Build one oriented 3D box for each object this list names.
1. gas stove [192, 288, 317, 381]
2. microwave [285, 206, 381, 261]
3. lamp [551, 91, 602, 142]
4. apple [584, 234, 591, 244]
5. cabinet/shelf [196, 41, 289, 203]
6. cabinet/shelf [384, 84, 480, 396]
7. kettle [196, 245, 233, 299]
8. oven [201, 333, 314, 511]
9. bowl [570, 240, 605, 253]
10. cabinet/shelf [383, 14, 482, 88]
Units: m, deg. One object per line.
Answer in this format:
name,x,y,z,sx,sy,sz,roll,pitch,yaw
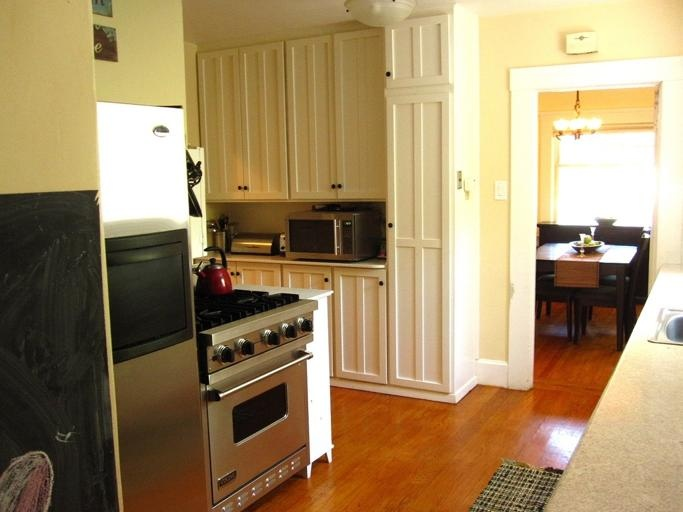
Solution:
gas stove,-0.558,0.376,2.696,0.548,0.268,0.782,4,8,30
microwave,-0.094,-0.172,4.223,0.607,0.339,0.427,2,8,24
lamp,2.888,-1.808,6.643,0.435,0.557,0.359,-12,16,-25
apple,2.634,-0.181,5.797,0.083,0.080,0.081,16,4,0
cabinet/shelf,-0.784,-1.206,4.663,0.929,1.387,0.430,-6,13,-29
cabinet/shelf,0.565,-0.092,3.830,0.530,2.142,0.185,3,10,27
kettle,-0.717,0.077,2.907,0.193,0.245,0.237,11,13,36
oven,-0.538,0.717,2.732,0.536,0.662,0.750,0,5,28
bowl,2.571,-0.105,5.703,0.209,0.049,0.207,-1,15,0
cabinet/shelf,0.671,-1.400,3.892,0.565,0.534,0.590,2,6,37
